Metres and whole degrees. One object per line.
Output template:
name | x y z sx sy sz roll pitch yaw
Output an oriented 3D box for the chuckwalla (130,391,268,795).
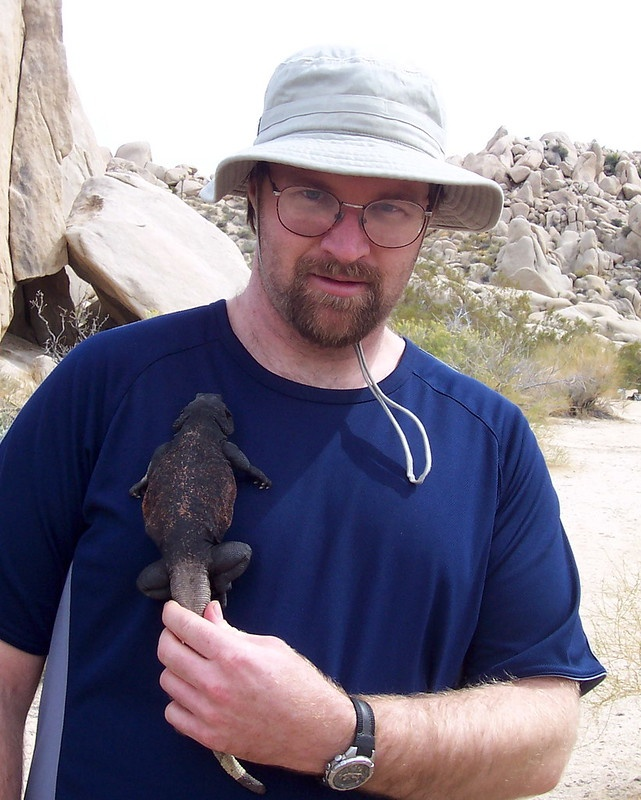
chuckwalla | -0.291 0.396 1.823 0.398 0.761 0.176 8 -28 -5
